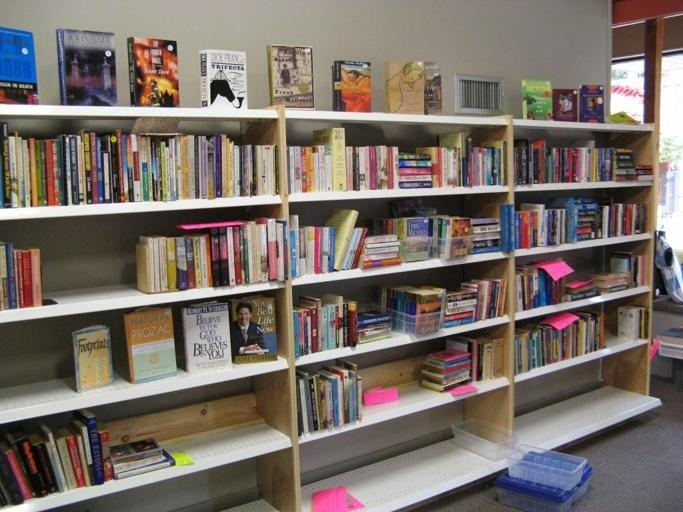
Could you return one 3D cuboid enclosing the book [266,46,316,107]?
[{"bbox_3d":[-0.276,-0.976,3.170,0.243,0.342,0.160,-5,14,-6],"label":"book"}]

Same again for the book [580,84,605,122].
[{"bbox_3d":[1.855,-1.139,4.322,0.264,0.386,0.051,-5,6,-30],"label":"book"}]

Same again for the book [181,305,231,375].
[{"bbox_3d":[-0.690,0.413,2.970,0.244,0.326,0.112,-7,14,-15],"label":"book"}]

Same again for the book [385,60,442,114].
[{"bbox_3d":[0.425,-1.011,3.491,0.363,0.303,0.037,-5,9,-28],"label":"book"}]

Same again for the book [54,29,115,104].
[{"bbox_3d":[-1.163,-0.861,2.655,0.256,0.344,0.094,-9,14,-21],"label":"book"}]

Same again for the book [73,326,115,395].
[{"bbox_3d":[-1.198,0.482,2.768,0.187,0.275,0.152,-8,15,-19],"label":"book"}]

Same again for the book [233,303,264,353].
[{"bbox_3d":[-0.502,0.369,3.057,0.180,0.252,0.058,-2,1,-30],"label":"book"}]

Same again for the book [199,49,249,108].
[{"bbox_3d":[-0.601,-0.893,2.940,0.238,0.293,0.140,-6,14,-12],"label":"book"}]

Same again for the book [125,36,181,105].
[{"bbox_3d":[-0.901,-0.878,2.781,0.243,0.325,0.136,-8,14,-18],"label":"book"}]
